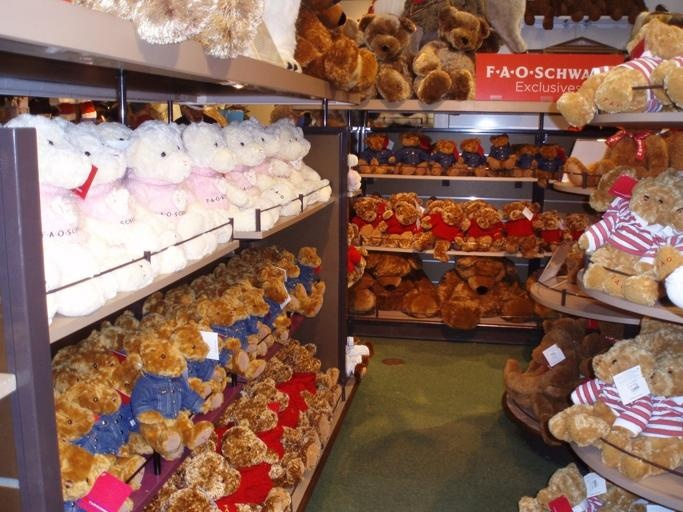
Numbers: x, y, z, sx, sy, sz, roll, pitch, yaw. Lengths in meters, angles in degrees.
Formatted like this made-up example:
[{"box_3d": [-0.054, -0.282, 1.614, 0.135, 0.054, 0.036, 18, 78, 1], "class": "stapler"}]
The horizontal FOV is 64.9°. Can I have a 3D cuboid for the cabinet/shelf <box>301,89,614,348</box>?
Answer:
[{"box_3d": [0.875, -0.239, 4.095, 2.120, 1.815, 0.696, 1, 9, 4], "class": "cabinet/shelf"}]
